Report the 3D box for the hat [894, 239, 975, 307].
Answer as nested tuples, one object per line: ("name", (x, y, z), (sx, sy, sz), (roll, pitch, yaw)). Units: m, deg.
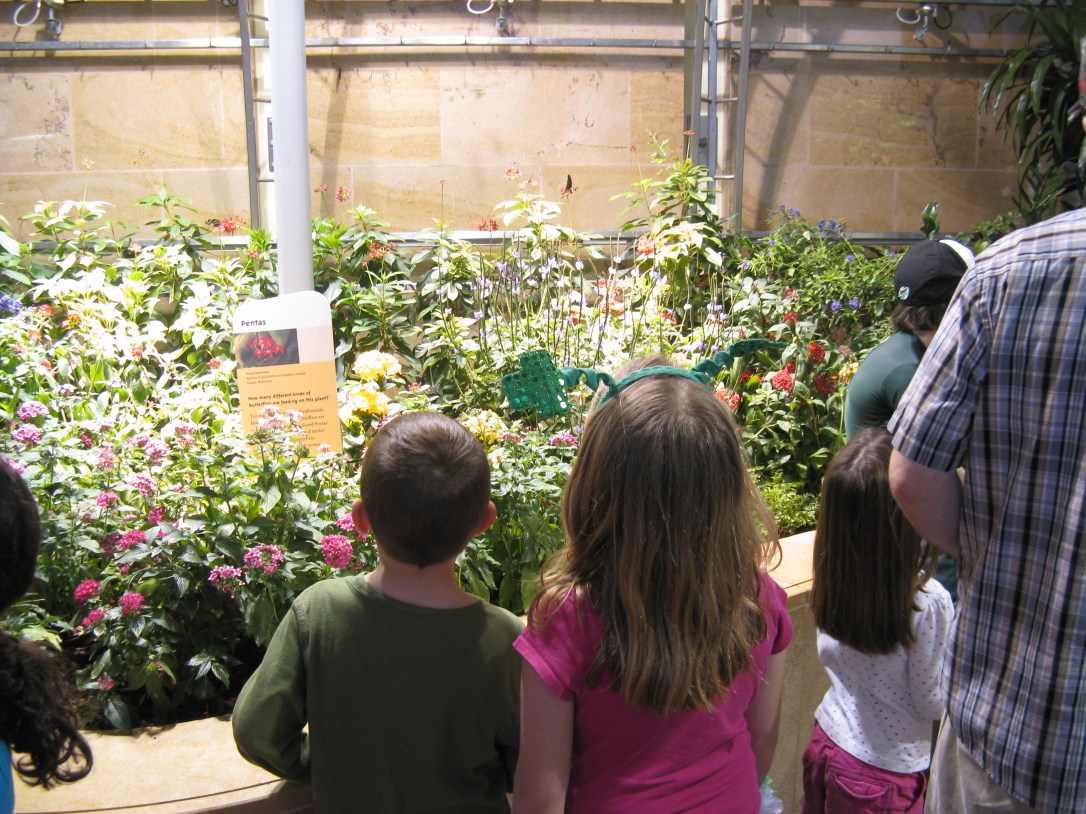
("hat", (1.305, -0.477, 2.966), (0.287, 0.165, 0.228), (-14, 15, 4))
